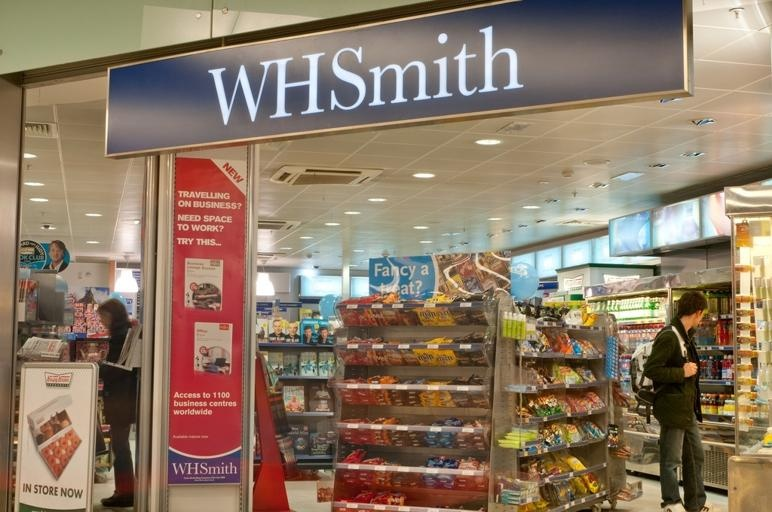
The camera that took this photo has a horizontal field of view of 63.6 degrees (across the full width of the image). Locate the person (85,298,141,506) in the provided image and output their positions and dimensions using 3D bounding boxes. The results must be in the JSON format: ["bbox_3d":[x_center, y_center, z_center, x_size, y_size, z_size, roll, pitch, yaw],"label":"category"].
[{"bbox_3d":[-2.714,1.477,6.387,0.293,2.086,0.675,3,-8,-43],"label":"person"}]
